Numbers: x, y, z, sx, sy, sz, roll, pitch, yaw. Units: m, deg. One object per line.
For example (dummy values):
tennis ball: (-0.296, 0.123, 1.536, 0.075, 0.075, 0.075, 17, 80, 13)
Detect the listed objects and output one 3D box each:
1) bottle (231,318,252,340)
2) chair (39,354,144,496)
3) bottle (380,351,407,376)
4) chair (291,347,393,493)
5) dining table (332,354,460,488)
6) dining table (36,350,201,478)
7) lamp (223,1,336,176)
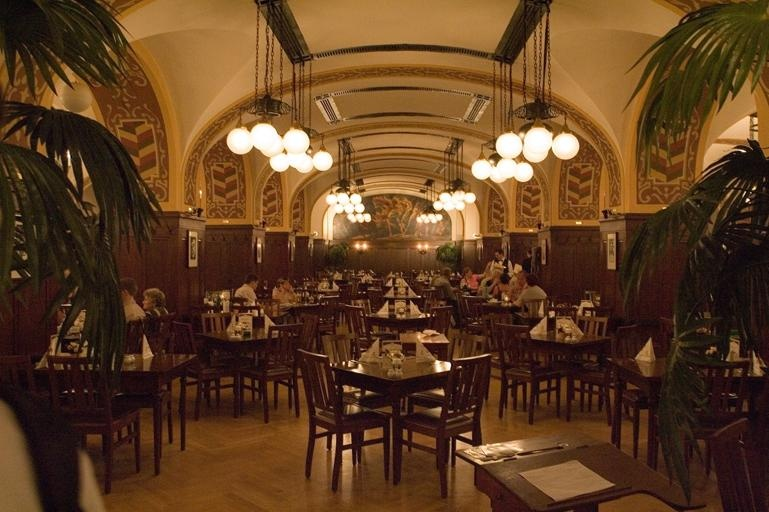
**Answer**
bottle: (-1.902, 0.982, 8.193, 0.252, 0.263, 0.262, 1, -2, -12)
chair: (-2.810, 1.566, 5.956, 0.713, 1.345, 0.925, -1, 5, -9)
bottle: (0.097, 1.085, 6.178, 0.195, 0.200, 0.202, 2, -7, -3)
chair: (-0.420, 1.550, 6.287, 0.888, 1.305, 1.043, -1, 5, -8)
dining table: (0.052, 1.566, 6.442, 1.203, 1.021, 1.135, 2, -3, -39)
dining table: (-2.746, 1.365, 6.669, 1.682, 1.329, 1.432, -1, -7, 4)
lamp: (-1.661, -2.827, 9.859, 0.913, 2.527, 2.318, -2, -7, 19)
